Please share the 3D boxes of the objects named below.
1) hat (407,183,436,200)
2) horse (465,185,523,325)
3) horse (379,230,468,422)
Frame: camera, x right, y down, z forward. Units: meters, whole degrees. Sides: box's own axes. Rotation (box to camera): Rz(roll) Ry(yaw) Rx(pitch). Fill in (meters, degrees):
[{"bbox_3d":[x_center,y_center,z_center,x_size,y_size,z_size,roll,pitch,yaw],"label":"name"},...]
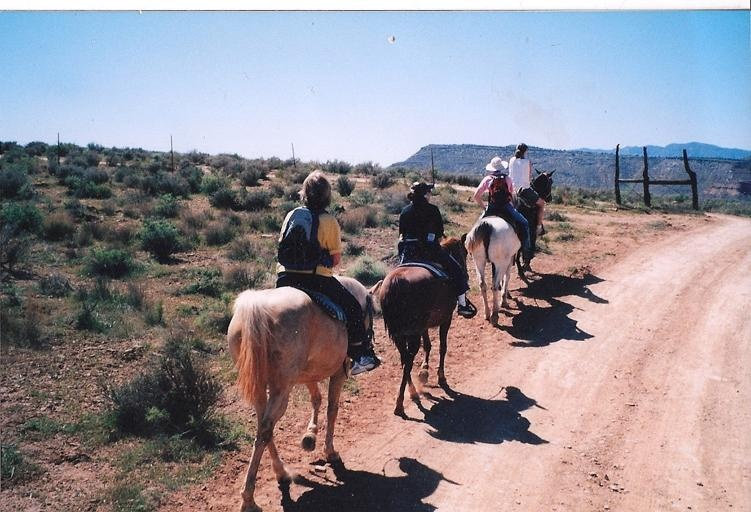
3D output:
[{"bbox_3d":[0.980,-1.394,12.001,0.495,0.270,0.314,-28,27,-26],"label":"hat"},{"bbox_3d":[3.266,0.323,15.700,1.364,2.838,2.571,1,5,14],"label":"horse"},{"bbox_3d":[0.889,1.517,12.068,1.140,3.535,2.309,3,6,33],"label":"horse"}]
